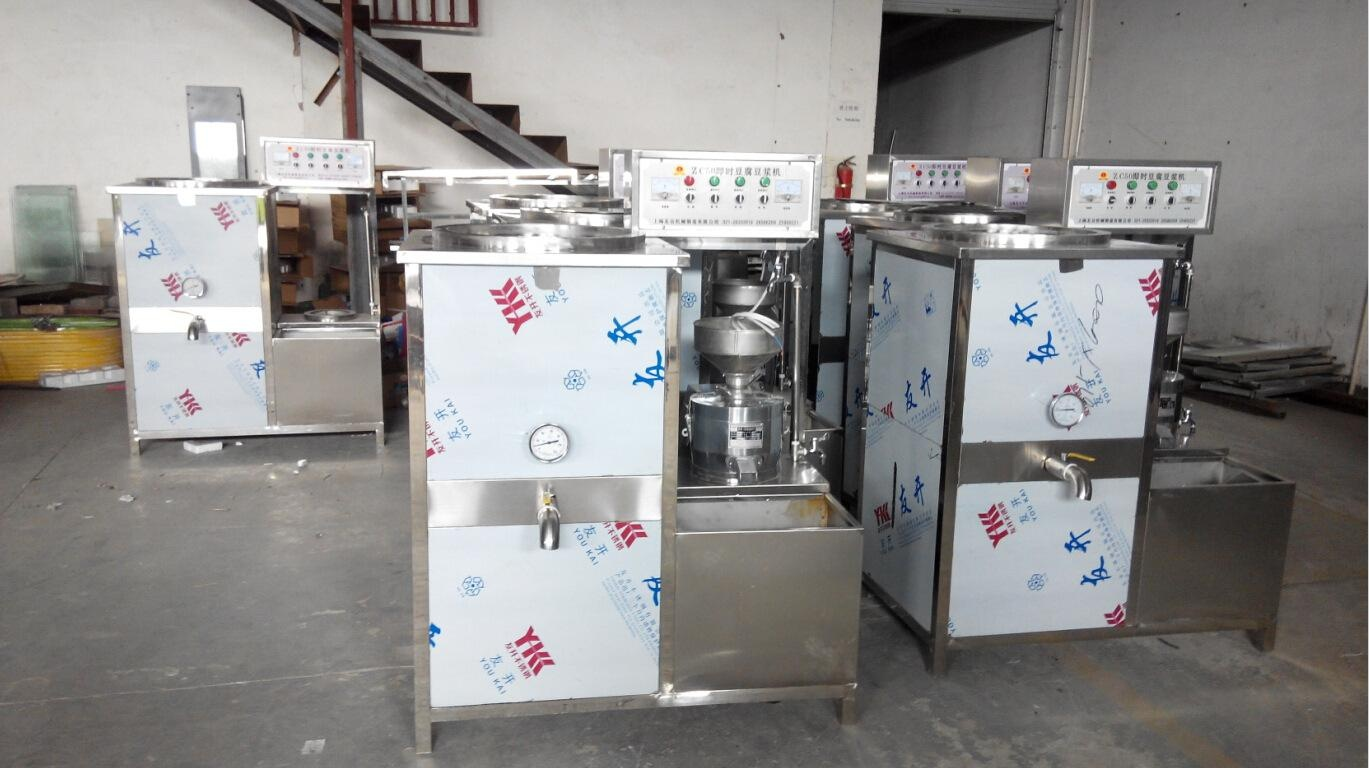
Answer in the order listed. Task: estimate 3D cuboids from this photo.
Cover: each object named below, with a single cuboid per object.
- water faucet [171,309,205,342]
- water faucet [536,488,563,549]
[{"bbox_3d":[-3.780,-0.453,7.133,0.234,0.228,0.120,-4,13,-13],"label":"water faucet"},{"bbox_3d":[-0.682,0.696,4.722,0.116,0.330,0.170,-3,12,-8],"label":"water faucet"}]
